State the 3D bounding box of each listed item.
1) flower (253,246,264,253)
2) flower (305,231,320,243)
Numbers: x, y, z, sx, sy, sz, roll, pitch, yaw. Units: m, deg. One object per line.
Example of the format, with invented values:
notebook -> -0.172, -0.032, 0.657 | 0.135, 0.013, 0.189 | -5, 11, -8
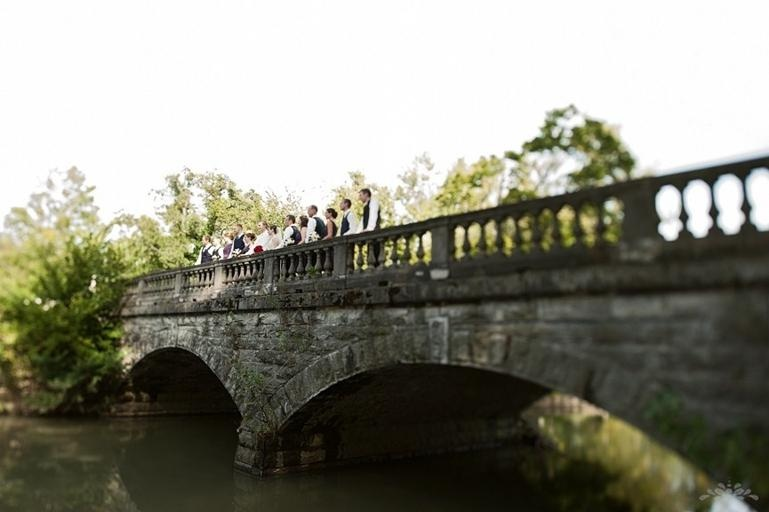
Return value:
flower -> -3.115, -0.170, 14.897 | 0.226, 0.171, 0.247 | 8, -9, 14
flower -> -1.629, -0.421, 13.706 | 0.223, 0.175, 0.339 | 0, -2, -36
